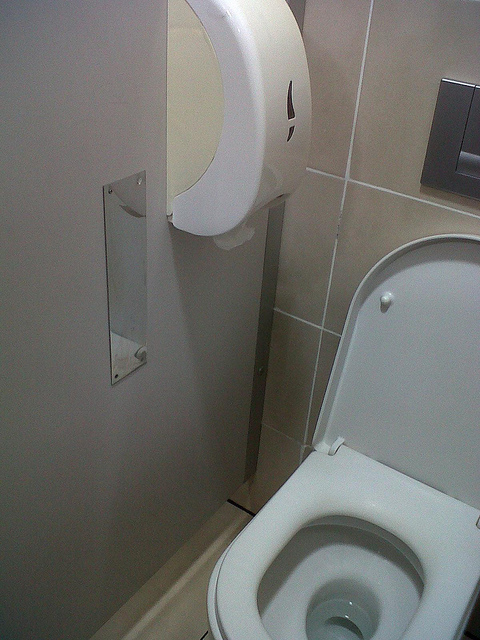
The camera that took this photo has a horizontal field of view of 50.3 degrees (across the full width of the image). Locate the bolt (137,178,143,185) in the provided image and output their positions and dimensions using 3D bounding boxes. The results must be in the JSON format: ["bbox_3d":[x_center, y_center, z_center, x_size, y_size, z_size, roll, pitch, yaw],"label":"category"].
[{"bbox_3d":[-0.136,-0.189,0.694,0.004,0.008,0.002,-11,42,-22],"label":"bolt"}]

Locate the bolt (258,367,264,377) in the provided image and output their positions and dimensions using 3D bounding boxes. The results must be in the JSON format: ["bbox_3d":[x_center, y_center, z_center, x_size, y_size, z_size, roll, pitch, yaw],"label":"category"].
[{"bbox_3d":[0.053,0.129,1.301,0.007,0.023,0.013,12,3,16],"label":"bolt"}]

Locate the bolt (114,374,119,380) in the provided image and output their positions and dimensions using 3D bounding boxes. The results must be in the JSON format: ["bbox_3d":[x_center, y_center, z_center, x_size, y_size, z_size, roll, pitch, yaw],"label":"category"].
[{"bbox_3d":[-0.198,0.090,0.820,0.001,0.008,0.007,3,-1,12],"label":"bolt"}]
